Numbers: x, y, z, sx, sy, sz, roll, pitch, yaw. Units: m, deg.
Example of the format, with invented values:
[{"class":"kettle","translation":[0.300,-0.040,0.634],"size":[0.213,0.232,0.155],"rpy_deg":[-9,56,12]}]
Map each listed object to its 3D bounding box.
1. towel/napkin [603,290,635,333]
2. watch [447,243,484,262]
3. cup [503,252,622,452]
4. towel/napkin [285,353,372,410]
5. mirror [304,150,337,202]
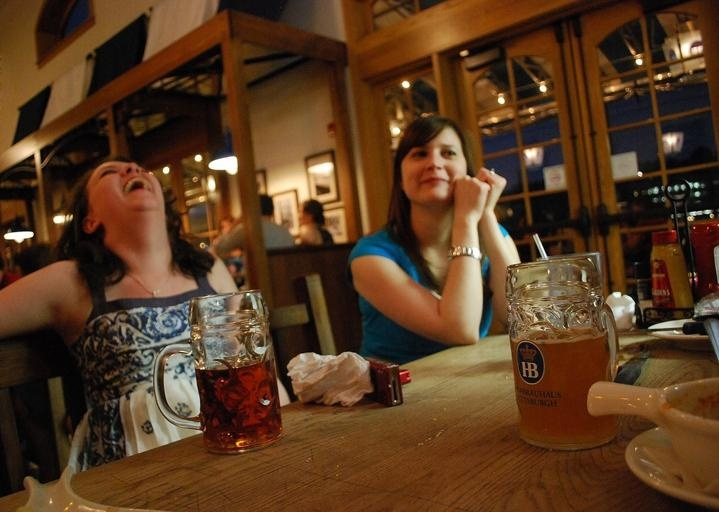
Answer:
[{"class":"towel/napkin","translation":[0.731,0.156,1.473],"size":[0.075,0.100,0.059],"rpy_deg":[1,3,35]},{"class":"watch","translation":[0.342,-0.006,1.707],"size":[0.096,0.052,0.048],"rpy_deg":[-6,5,-3]},{"class":"cup","translation":[0.311,0.146,0.803],"size":[0.155,0.284,0.089],"rpy_deg":[-4,6,20]},{"class":"towel/napkin","translation":[-0.081,0.271,1.173],"size":[0.142,0.092,0.184],"rpy_deg":[7,-11,19]},{"class":"mirror","translation":[-0.303,-0.595,4.070],"size":[0.294,0.385,0.033],"rpy_deg":[-17,17,-36]}]
